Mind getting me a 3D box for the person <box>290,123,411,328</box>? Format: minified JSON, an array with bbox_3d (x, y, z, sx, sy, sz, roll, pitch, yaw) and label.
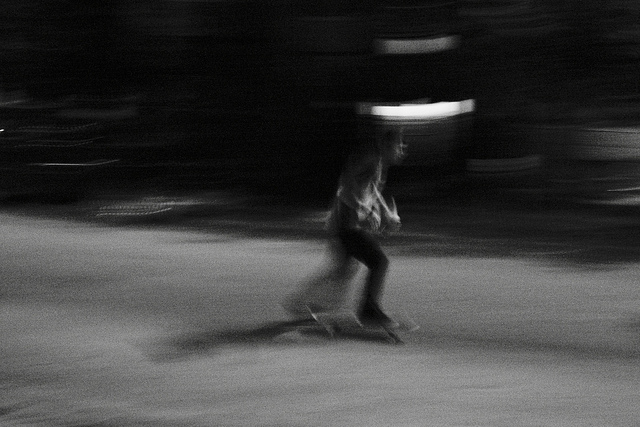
[{"bbox_3d":[0.376,0.153,8.026,1.009,1.937,1.147,9,34,16],"label":"person"}]
